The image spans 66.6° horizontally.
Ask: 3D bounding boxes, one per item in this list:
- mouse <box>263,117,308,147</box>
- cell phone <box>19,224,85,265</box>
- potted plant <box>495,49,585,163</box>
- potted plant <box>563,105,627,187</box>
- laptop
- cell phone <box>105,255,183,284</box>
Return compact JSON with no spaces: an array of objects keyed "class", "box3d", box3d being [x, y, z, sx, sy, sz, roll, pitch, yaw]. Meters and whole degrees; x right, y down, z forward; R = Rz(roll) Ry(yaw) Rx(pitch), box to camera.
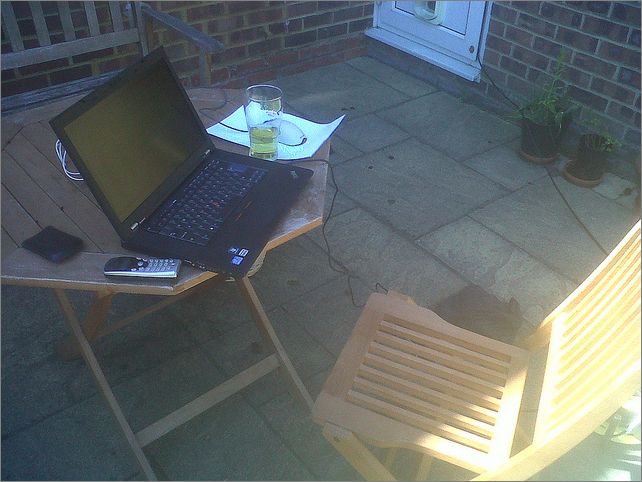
[{"class":"mouse","box3d":[-0.112,-0.337,1.506,0.115,0.023,0.082,4,60,-33]},{"class":"cell phone","box3d":[-0.648,0.004,1.163,0.096,0.027,0.093,26,44,17]},{"class":"potted plant","box3d":[1.269,-0.746,2.776,0.323,0.521,0.329,-12,29,-20]},{"class":"potted plant","box3d":[1.492,-0.486,2.707,0.195,0.303,0.212,-18,33,-40]},{"class":"laptop","box3d":[-0.306,-0.216,1.191,0.446,0.305,0.479,14,50,14]},{"class":"cell phone","box3d":[-0.411,0.061,1.119,0.167,0.031,0.050,-1,48,0]}]
